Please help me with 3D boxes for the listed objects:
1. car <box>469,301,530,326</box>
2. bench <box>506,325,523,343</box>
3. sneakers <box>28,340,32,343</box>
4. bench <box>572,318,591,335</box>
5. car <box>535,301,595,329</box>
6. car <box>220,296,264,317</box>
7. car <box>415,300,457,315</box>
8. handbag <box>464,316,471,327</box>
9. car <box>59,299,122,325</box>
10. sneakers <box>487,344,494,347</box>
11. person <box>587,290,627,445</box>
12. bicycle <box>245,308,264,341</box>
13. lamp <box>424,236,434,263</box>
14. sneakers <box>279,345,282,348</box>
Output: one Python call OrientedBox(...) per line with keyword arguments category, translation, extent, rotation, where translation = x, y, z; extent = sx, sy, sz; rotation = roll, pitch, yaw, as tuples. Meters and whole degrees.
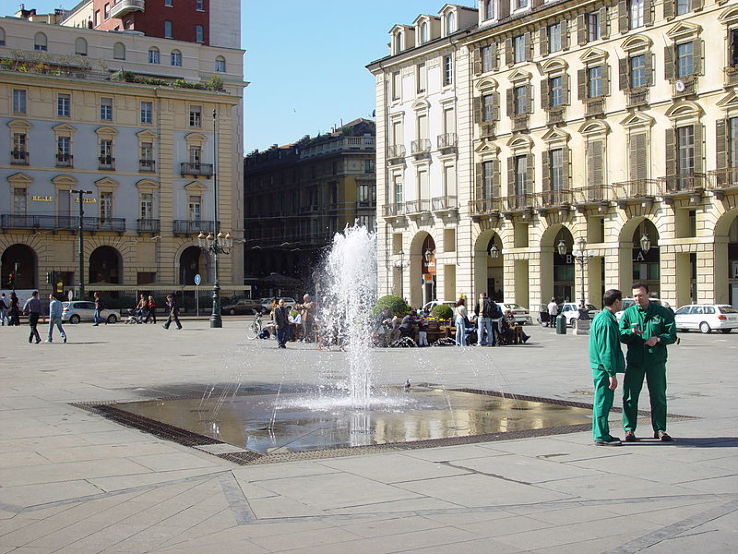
OrientedBox(category="car", translation=(5.042, 1.421, 39.004), extent=(1.372, 1.035, 3.060), rotation=(0, 5, 38))
OrientedBox(category="bench", translation=(4.719, 1.974, 33.639), extent=(0.516, 0.709, 0.716), rotation=(-1, 2, -11))
OrientedBox(category="sneakers", translation=(-11.237, 2.141, 33.972), extent=(0.070, 0.130, 0.132), rotation=(-4, 3, -45))
OrientedBox(category="bench", translation=(8.433, 1.991, 40.801), extent=(0.655, 0.634, 0.676), rotation=(0, -3, -1))
OrientedBox(category="car", translation=(9.345, 1.748, 49.044), extent=(1.644, 0.818, 2.363), rotation=(-1, 3, -22))
OrientedBox(category="car", translation=(-9.037, 2.135, 71.735), extent=(2.642, 1.002, 1.223), rotation=(4, -6, -26))
OrientedBox(category="car", translation=(2.814, 1.277, 45.797), extent=(1.637, 0.897, 1.024), rotation=(4, -4, -7))
OrientedBox(category="handbag", translation=(3.189, 1.491, 33.206), extent=(0.095, 0.373, 0.642), rotation=(-2, -4, 23))
OrientedBox(category="car", translation=(-15.463, 1.954, 56.634), extent=(2.789, 1.191, 1.673), rotation=(1, -4, -19))
OrientedBox(category="sneakers", translation=(3.835, 2.171, 32.380), extent=(0.191, 0.065, 0.591), rotation=(-1, -4, 5))
OrientedBox(category="person", translation=(3.262, 1.223, 14.124), extent=(0.457, 2.115, 0.637), rotation=(-1, -4, 19))
OrientedBox(category="bicycle", translation=(-5.475, 2.235, 48.638), extent=(1.147, 1.547, 2.555), rotation=(3, -5, -16))
OrientedBox(category="lamp", translation=(3.763, -1.711, 64.310), extent=(0.649, 1.765, 1.933), rotation=(-1, -4, 4))
OrientedBox(category="sneakers", translation=(-2.820, 2.194, 32.203), extent=(0.094, 0.137, 0.139), rotation=(0, -7, 9))
